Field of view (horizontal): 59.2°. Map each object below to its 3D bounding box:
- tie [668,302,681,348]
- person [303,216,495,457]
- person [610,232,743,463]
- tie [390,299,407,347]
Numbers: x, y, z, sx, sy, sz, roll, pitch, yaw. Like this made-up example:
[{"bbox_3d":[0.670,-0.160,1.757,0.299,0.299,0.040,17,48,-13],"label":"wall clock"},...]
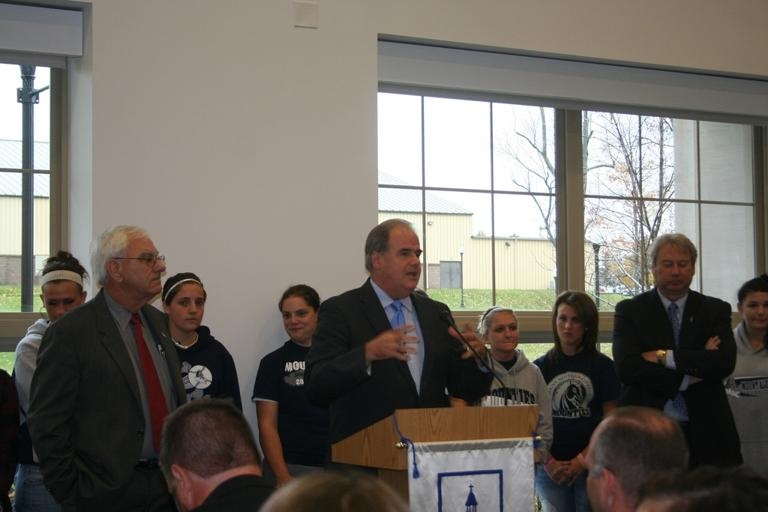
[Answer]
[{"bbox_3d":[1.718,0.388,4.000,0.049,0.313,0.052,14,-15,-42],"label":"tie"},{"bbox_3d":[0.072,0.336,3.162,0.824,0.920,0.524,-1,0,-29],"label":"person"},{"bbox_3d":[1.703,0.535,3.904,0.697,0.942,0.340,-1,0,0],"label":"person"},{"bbox_3d":[0.065,0.317,3.121,0.083,0.205,0.060,2,-11,-2],"label":"tie"}]
